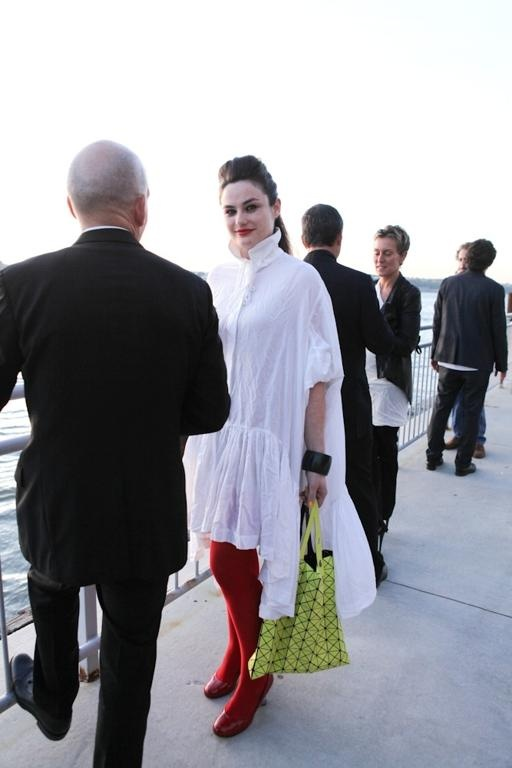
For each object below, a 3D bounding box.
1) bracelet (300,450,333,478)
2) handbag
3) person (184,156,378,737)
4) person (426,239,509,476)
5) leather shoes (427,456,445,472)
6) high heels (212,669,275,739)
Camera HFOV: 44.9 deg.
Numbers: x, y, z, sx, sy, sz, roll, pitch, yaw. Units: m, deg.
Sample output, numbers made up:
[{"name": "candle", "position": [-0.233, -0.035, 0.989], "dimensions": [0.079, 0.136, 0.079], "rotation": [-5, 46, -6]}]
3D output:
[{"name": "bracelet", "position": [0.185, 0.242, 1.903], "dimensions": [0.077, 0.063, 0.079], "rotation": [21, -4, -1]}, {"name": "handbag", "position": [0.134, 0.702, 1.950], "dimensions": [0.304, 0.429, 0.089], "rotation": [1, 9, -8]}, {"name": "person", "position": [-0.014, 0.232, 2.041], "dimensions": [0.750, 1.860, 0.522], "rotation": [3, 8, 17]}, {"name": "person", "position": [1.749, -0.241, 5.082], "dimensions": [0.600, 1.886, 0.644], "rotation": [4, 9, 15]}, {"name": "leather shoes", "position": [1.465, 0.650, 5.071], "dimensions": [0.069, 0.090, 0.197], "rotation": [7, 24, 30]}, {"name": "high heels", "position": [-0.041, 1.085, 2.135], "dimensions": [0.089, 0.115, 0.271], "rotation": [7, 5, 27]}]
